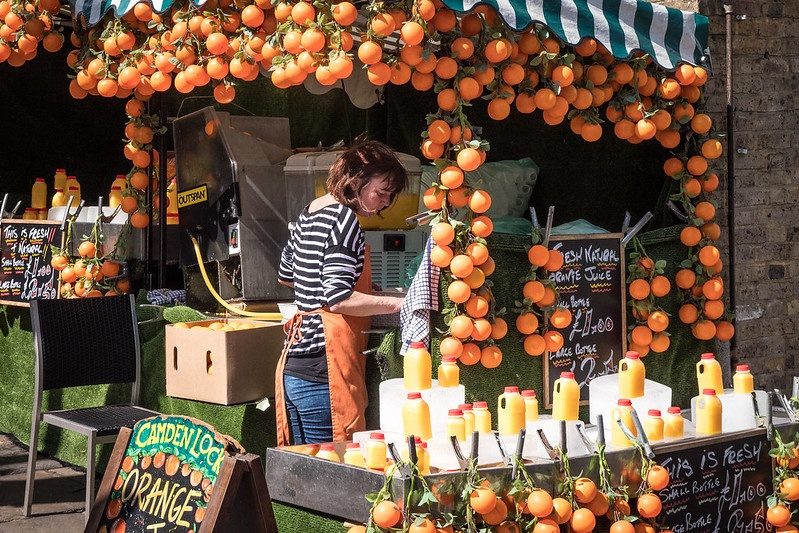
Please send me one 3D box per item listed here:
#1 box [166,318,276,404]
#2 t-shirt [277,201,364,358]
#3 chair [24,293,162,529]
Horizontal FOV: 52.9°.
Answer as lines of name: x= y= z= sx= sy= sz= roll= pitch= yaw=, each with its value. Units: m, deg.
box: x=-1.022 y=0.545 z=4.778 sx=0.491 sy=0.376 sz=0.516 roll=1 pitch=0 yaw=37
t-shirt: x=-0.463 y=0.091 z=4.414 sx=0.317 sy=0.828 sz=0.624 roll=1 pitch=-1 yaw=-42
chair: x=-1.981 y=1.027 z=5.451 sx=0.770 sy=1.581 sz=0.798 roll=3 pitch=1 yaw=33
